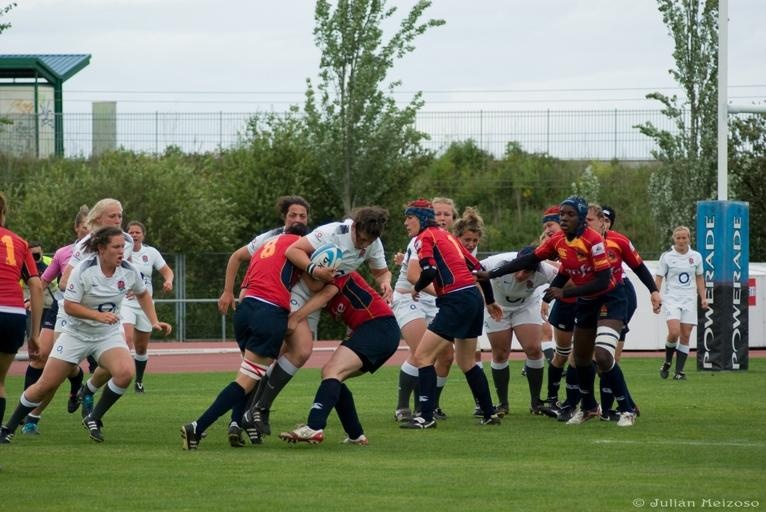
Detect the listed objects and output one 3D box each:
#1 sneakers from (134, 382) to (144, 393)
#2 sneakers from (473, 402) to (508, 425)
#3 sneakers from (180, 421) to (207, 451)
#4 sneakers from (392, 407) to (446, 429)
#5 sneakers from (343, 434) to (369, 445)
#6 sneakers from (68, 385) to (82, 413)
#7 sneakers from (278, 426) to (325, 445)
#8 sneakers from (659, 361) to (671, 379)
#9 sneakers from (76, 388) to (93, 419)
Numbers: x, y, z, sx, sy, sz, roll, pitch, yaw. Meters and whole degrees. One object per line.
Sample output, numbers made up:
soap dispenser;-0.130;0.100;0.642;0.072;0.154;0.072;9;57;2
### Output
sneakers;-4.152;2.218;22.765;0.151;0.155;0.162;1;-7;-9
sneakers;1.498;2.350;19.924;0.536;0.253;0.198;2;3;37
sneakers;-2.565;2.391;17.948;0.260;0.514;0.172;-13;28;-18
sneakers;0.471;2.364;19.489;0.651;0.280;0.233;8;5;-6
sneakers;-0.389;2.524;18.499;0.332;0.153;0.133;4;-2;4
sneakers;-4.740;2.195;20.580;0.184;0.473;0.165;10;11;15
sneakers;-1.099;2.394;18.110;0.645;0.280;0.236;4;-6;-3
sneakers;5.090;2.062;24.347;0.125;0.376;0.162;8;-16;5
sneakers;-4.452;2.165;19.990;0.208;0.492;0.166;-7;-2;36
